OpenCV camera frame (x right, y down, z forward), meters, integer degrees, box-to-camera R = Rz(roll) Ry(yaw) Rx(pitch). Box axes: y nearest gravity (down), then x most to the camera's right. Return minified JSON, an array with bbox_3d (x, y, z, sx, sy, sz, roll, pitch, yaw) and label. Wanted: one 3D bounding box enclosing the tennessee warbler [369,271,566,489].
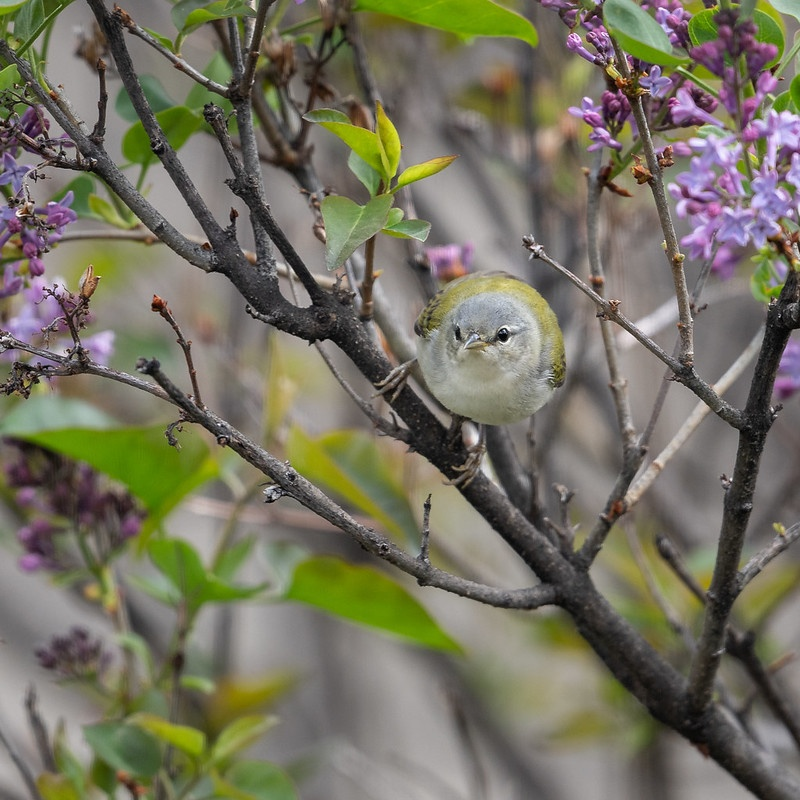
[{"bbox_3d":[0.240,-0.087,2.833,0.365,0.713,0.436,22,-49,-9],"label":"tennessee warbler"}]
